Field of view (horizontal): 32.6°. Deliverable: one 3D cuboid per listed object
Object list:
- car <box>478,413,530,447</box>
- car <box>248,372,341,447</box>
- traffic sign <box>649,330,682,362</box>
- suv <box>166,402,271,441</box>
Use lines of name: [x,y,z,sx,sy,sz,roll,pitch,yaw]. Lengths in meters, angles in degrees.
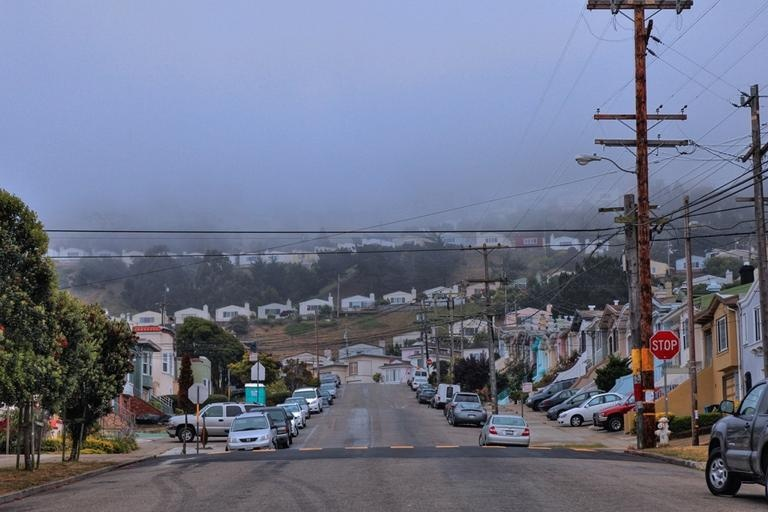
car: [5.785,8.324,63.014,2.263,1.679,1.389,-5,-11,4]
car: [-5.795,8.977,74.731,3.040,2.747,6.613,1,6,14]
traffic sign: [12.776,3.968,59.895,1.221,1.346,1.248,-7,-11,14]
suv: [-9.426,8.975,70.416,4.256,1.704,2.086,1,-4,-6]
